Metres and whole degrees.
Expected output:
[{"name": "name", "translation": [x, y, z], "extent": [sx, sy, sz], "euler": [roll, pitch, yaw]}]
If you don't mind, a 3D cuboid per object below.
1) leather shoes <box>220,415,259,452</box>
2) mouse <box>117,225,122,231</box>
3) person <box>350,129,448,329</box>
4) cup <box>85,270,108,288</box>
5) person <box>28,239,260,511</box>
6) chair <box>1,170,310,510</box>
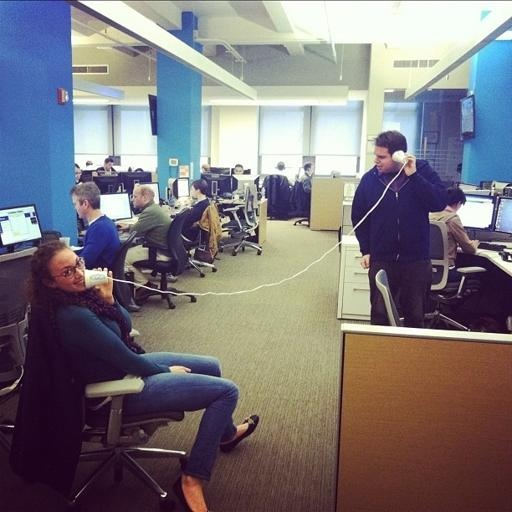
[{"name": "leather shoes", "translation": [-0.075, 0.851, 2.172], "extent": [0.248, 0.069, 0.085], "euler": [-44, 27, -29]}, {"name": "mouse", "translation": [-1.416, -0.295, 4.753], "extent": [0.047, 0.070, 0.062], "euler": [1, -1, -9]}, {"name": "person", "translation": [0.838, -0.173, 2.719], "extent": [0.449, 1.106, 0.454], "euler": [-3, 11, -11]}, {"name": "cup", "translation": [-0.581, 0.069, 1.653], "extent": [0.069, 0.055, 0.078], "euler": [-4, 7, -20]}, {"name": "person", "translation": [-0.423, 0.267, 2.015], "extent": [1.002, 1.211, 0.659], "euler": [-5, 14, -17]}, {"name": "chair", "translation": [-0.406, 0.271, 2.173], "extent": [1.070, 1.317, 0.716], "euler": [-4, 14, -17]}]
